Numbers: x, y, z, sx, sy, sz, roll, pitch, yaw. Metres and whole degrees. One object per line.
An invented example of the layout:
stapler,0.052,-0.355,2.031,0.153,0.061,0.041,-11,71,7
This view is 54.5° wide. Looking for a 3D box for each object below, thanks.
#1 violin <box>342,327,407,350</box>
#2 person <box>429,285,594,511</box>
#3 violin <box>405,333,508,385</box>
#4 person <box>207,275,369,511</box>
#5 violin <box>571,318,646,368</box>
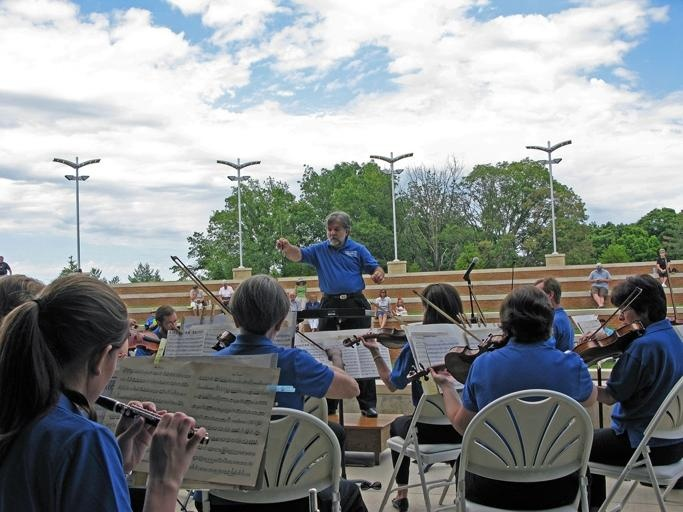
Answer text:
violin,0.226,0.577,4.627,0.557,0.070,0.226,-4,23,-36
person,0.850,0.699,3.340,0.795,1.089,0.484,-3,-3,18
violin,0.710,0.590,4.016,0.675,0.262,0.114,-15,27,-19
person,-0.255,0.598,3.405,0.653,1.224,0.529,1,-1,-6
violin,1.794,0.584,4.470,0.455,0.326,0.355,1,0,38
